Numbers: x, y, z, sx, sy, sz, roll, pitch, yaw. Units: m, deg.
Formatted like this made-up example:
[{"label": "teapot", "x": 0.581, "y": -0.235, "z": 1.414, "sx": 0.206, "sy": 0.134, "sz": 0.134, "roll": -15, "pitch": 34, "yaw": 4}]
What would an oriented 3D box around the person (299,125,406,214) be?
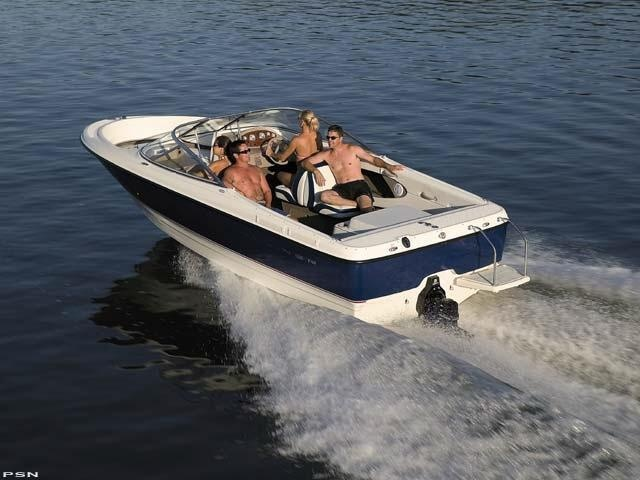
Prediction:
[{"label": "person", "x": 0.371, "y": -0.869, "z": 7.803, "sx": 1.637, "sy": 0.927, "sz": 0.809, "roll": 7, "pitch": 45, "yaw": 43}]
